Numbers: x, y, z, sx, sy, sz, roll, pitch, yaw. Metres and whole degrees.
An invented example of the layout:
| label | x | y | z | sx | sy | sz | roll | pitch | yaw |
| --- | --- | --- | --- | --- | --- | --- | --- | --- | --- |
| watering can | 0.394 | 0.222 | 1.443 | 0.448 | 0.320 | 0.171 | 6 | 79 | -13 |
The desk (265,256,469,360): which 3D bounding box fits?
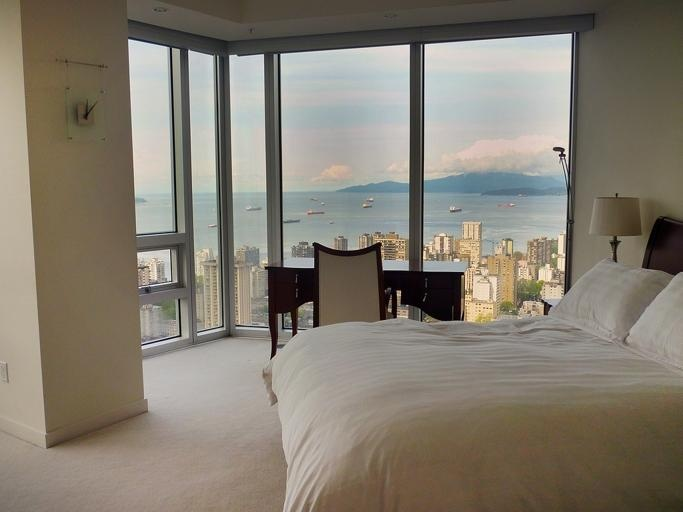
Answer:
| label | x | y | z | sx | sy | sz | roll | pitch | yaw |
| --- | --- | --- | --- | --- | --- | --- | --- | --- | --- |
| desk | 0.228 | 0.514 | 4.986 | 1.667 | 0.945 | 0.632 | 2 | 8 | 12 |
